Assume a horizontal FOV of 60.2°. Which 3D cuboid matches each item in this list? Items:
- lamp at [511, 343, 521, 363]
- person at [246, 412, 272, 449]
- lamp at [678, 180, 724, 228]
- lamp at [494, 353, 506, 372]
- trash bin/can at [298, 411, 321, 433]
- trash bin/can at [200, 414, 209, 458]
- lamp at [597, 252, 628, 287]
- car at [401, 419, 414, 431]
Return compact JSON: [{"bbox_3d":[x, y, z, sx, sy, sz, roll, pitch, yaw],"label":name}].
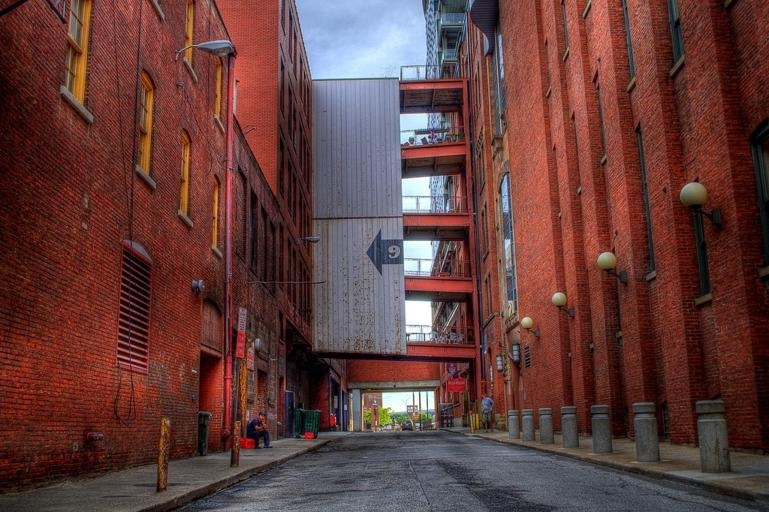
[{"bbox_3d":[7.573,5.568,37.935,0.409,1.127,1.098,-5,-20,3],"label":"lamp"},{"bbox_3d":[-5.067,7.059,26.946,0.951,1.419,0.752,3,-4,10],"label":"person"},{"bbox_3d":[8.263,-1.366,17.267,1.333,1.204,0.619,14,-26,-41],"label":"lamp"},{"bbox_3d":[7.528,6.944,42.908,0.767,1.866,0.857,-1,-5,2],"label":"lamp"},{"bbox_3d":[-4.612,9.997,40.144,1.448,1.919,1.346,-4,-11,16],"label":"trash bin/can"},{"bbox_3d":[-6.143,6.035,22.521,0.293,1.406,0.577,1,-19,-15],"label":"trash bin/can"},{"bbox_3d":[8.219,0.469,23.742,0.984,1.545,0.782,2,-17,-9],"label":"lamp"},{"bbox_3d":[3.074,22.301,86.590,1.574,1.333,2.658,1,-10,2],"label":"car"}]
